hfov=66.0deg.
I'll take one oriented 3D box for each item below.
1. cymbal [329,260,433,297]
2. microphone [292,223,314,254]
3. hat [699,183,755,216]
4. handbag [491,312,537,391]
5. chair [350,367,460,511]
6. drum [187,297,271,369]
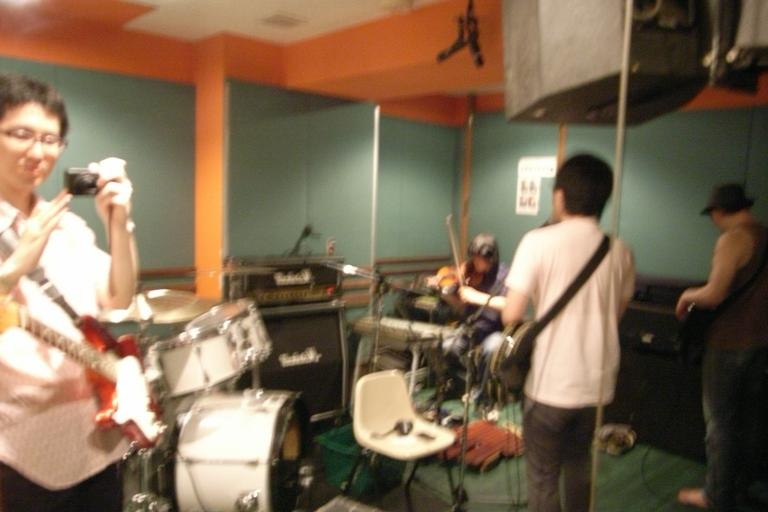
[{"bbox_3d":[-0.055,0.099,3.046,0.676,0.176,0.019,13,27,28],"label":"cymbal"},{"bbox_3d":[-0.411,-0.088,2.980,0.122,0.151,0.031,-2,8,12],"label":"microphone"},{"bbox_3d":[1.203,-0.199,2.068,0.157,0.079,0.107,-1,0,26],"label":"hat"},{"bbox_3d":[0.490,0.361,2.212,0.102,0.244,0.186,6,8,4],"label":"handbag"},{"bbox_3d":[0.093,0.672,2.515,0.387,0.257,0.386,7,7,40],"label":"chair"},{"bbox_3d":[-0.611,0.296,2.290,0.175,0.190,0.320,17,16,21],"label":"drum"}]
